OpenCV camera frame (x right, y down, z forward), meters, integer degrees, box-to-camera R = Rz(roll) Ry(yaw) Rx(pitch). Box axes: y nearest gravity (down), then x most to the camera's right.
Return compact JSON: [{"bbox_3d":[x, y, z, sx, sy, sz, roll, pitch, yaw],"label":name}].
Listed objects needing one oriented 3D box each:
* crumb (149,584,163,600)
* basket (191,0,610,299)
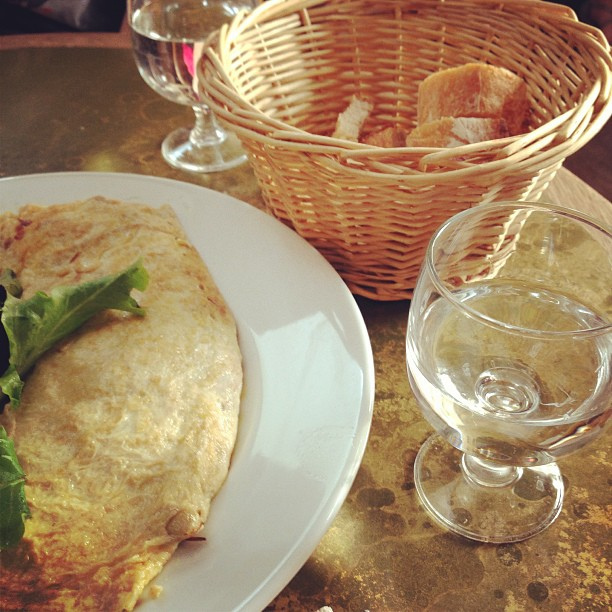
[{"bbox_3d":[-0.106,0.203,0.492,0.010,0.003,0.008,0,38,-1],"label":"crumb"},{"bbox_3d":[0.119,-0.148,0.894,0.544,0.209,0.412,-3,47,-2],"label":"basket"}]
